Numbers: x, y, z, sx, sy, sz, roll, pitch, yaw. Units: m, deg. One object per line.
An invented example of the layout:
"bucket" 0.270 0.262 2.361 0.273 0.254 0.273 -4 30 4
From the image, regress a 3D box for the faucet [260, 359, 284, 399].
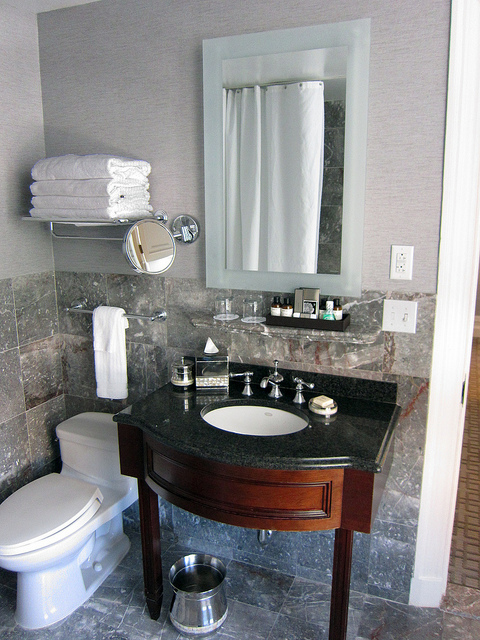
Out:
"faucet" 0.113 0.196 1.784 0.077 0.116 0.172 -1 12 4

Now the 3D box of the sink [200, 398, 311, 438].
"sink" 0.059 0.333 1.658 0.349 0.112 0.161 1 12 12
